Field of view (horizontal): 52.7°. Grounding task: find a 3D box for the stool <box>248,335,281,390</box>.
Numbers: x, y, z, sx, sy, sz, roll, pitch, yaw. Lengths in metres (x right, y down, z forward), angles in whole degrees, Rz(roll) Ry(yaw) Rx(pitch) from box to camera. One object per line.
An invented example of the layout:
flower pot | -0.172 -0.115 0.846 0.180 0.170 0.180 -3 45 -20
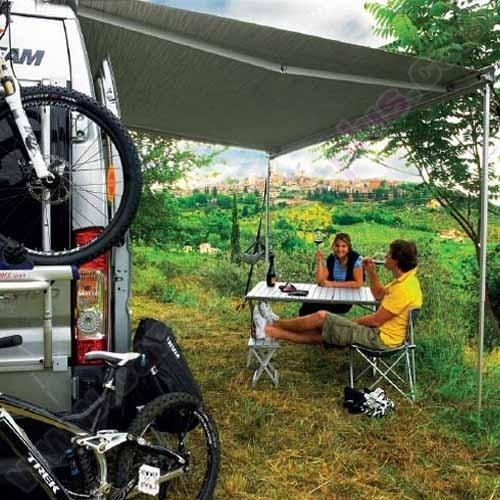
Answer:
stool | 0.136 1.092 4.818 0.252 0.349 0.471 -1 -12 -1

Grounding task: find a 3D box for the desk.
desk | 0.436 0.881 5.003 1.206 0.625 0.901 0 5 4

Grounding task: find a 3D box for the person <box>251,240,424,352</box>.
person | 0.808 0.389 4.427 1.339 0.995 0.547 1 -6 17

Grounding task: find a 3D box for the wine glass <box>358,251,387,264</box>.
wine glass | 1.615 0.091 6.589 0.527 0.163 0.124 -2 8 2

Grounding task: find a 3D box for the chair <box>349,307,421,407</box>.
chair | 1.275 0.850 4.667 0.742 0.911 0.970 1 -10 5

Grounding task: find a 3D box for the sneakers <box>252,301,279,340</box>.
sneakers | 0.154 0.681 4.838 0.246 0.305 0.128 -10 -35 41

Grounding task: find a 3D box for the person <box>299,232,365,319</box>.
person | 0.858 0.325 5.374 0.925 0.973 0.495 -3 7 -33
